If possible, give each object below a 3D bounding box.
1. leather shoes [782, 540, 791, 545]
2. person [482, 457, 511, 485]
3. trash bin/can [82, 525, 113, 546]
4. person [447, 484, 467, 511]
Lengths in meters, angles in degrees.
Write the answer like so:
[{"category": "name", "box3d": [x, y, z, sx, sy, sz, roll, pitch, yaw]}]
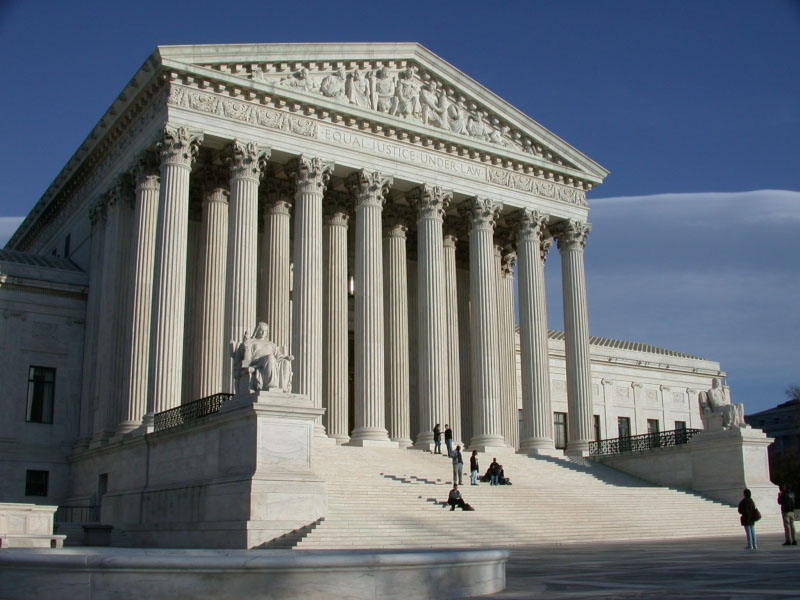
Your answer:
[{"category": "leather shoes", "box3d": [12.474, 7.874, 30.773, 0.238, 0.132, 0.553, -5, -13, 21]}, {"category": "person", "box3d": [4.324, 7.365, 40.465, 1.471, 1.190, 1.025, 11, -26, -17]}, {"category": "trash bin/can", "box3d": [-11.336, 8.999, 36.395, 0.990, 0.784, 1.023, 1, -9, -14]}, {"category": "person", "box3d": [2.203, 7.219, 34.729, 0.728, 0.966, 0.874, -1, -14, 2]}]
